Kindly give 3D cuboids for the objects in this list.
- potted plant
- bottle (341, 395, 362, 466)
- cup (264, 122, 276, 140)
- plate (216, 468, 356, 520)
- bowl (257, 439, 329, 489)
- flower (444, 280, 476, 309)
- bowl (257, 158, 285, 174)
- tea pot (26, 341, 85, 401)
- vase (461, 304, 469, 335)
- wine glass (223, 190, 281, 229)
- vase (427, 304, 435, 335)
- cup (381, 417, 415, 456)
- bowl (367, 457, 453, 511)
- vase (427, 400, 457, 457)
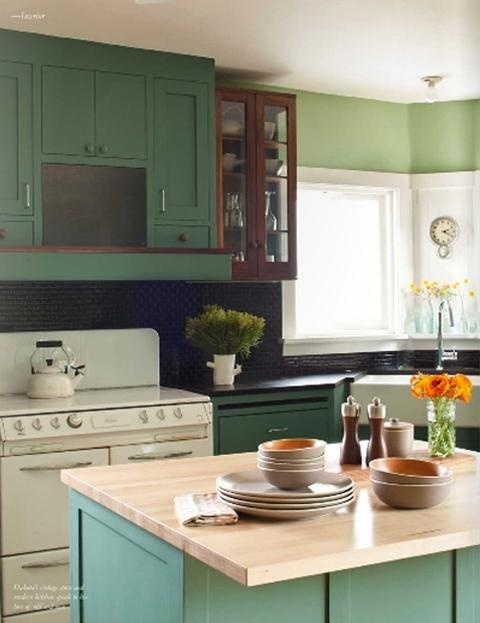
[{"bbox_3d":[-0.124,0.245,3.666,0.559,0.540,0.472,2,-5,-10],"label":"potted plant"},{"bbox_3d":[0.297,0.327,1.566,0.055,0.160,0.047,1,-5,9],"label":"bottle"},{"bbox_3d":[0.194,-1.161,3.747,0.104,0.106,0.098,-2,2,0],"label":"cup"},{"bbox_3d":[0.083,0.355,1.149,0.274,0.062,0.256,1,-5,7],"label":"plate"},{"bbox_3d":[0.098,0.290,1.172,0.109,0.065,0.108,-4,-4,0],"label":"bowl"},{"bbox_3d":[1.699,-0.126,4.492,0.161,0.368,0.214,-4,5,-43],"label":"flower"},{"bbox_3d":[0.212,-0.917,3.759,0.105,0.111,0.127,4,9,-10],"label":"bowl"},{"bbox_3d":[-0.985,0.301,3.116,0.305,0.279,0.217,4,1,-34],"label":"tea pot"},{"bbox_3d":[1.720,0.051,4.481,0.051,0.232,0.058,-1,-5,25],"label":"vase"},{"bbox_3d":[0.061,-0.639,3.666,0.280,0.236,0.088,1,-3,-29],"label":"wine glass"},{"bbox_3d":[1.468,0.068,4.510,0.061,0.237,0.066,-1,-6,30],"label":"vase"},{"bbox_3d":[0.415,0.329,1.607,0.099,0.097,0.100,0,1,0],"label":"cup"},{"bbox_3d":[0.331,0.329,1.156,0.099,0.051,0.108,-3,-6,0],"label":"bowl"},{"bbox_3d":[0.578,0.330,1.679,0.072,0.161,0.096,0,-5,16],"label":"vase"}]
